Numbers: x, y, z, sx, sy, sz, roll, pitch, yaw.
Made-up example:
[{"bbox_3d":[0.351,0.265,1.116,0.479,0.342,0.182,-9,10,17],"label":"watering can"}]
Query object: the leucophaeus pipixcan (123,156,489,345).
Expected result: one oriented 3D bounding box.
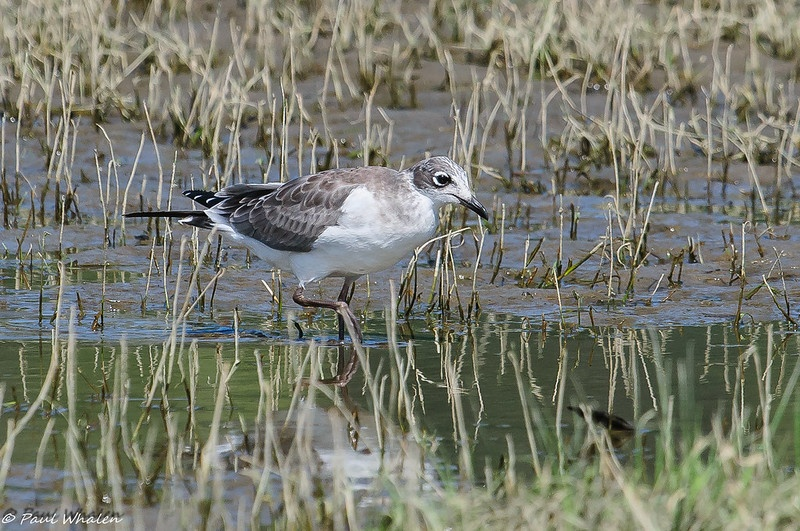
[{"bbox_3d":[-0.586,-0.432,8.905,2.799,1.323,3.466,6,15,23],"label":"leucophaeus pipixcan"}]
